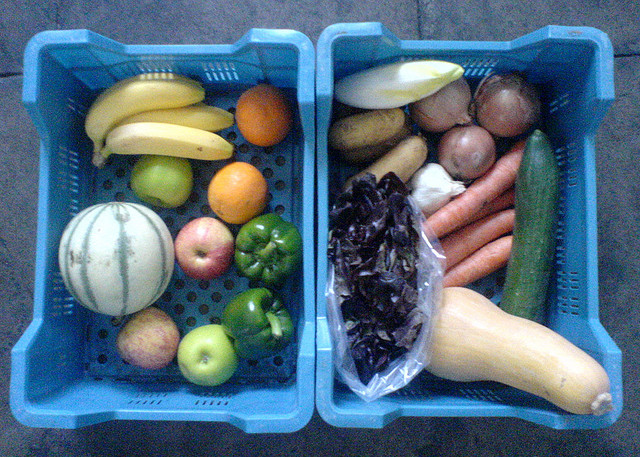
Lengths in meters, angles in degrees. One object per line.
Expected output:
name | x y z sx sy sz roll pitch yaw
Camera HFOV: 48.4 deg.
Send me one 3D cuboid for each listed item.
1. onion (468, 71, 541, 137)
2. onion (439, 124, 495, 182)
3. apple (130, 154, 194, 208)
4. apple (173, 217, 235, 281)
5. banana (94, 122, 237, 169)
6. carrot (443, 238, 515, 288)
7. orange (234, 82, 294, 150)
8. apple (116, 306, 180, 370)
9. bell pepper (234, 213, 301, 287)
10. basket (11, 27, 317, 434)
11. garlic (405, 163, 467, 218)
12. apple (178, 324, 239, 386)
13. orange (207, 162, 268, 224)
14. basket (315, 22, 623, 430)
onion | 0.493 -0.324 1.909 0.159 0.170 0.167 1 30 10
onion | 0.378 -0.198 1.837 0.141 0.141 0.136 0 -5 6
apple | -0.407 -0.128 1.872 0.137 0.136 0.136 -7 -7 35
apple | -0.291 0.056 1.819 0.145 0.154 0.151 0 13 -7
banana | -0.397 -0.215 1.815 0.349 0.129 0.078 1 -43 -10
carrot | 0.415 0.085 1.881 0.179 0.045 0.045 -30 31 -2
orange | -0.195 -0.281 1.885 0.166 0.144 0.168 -10 11 -28
apple | -0.438 0.285 1.834 0.154 0.149 0.070 35 -5 4
bell pepper | -0.143 0.062 1.868 0.175 0.180 0.163 6 5 -2
basket | -0.378 0.028 1.810 0.794 1.081 0.344 -1 1 -1
garlic | 0.304 -0.126 1.907 0.140 0.129 0.135 -18 27 -29
apple | -0.279 0.320 1.864 0.141 0.144 0.144 33 -3 1
orange | -0.210 -0.094 1.890 0.146 0.152 0.167 -6 32 -5
basket | 0.362 -0.001 1.787 0.740 0.971 0.289 0 -6 1
